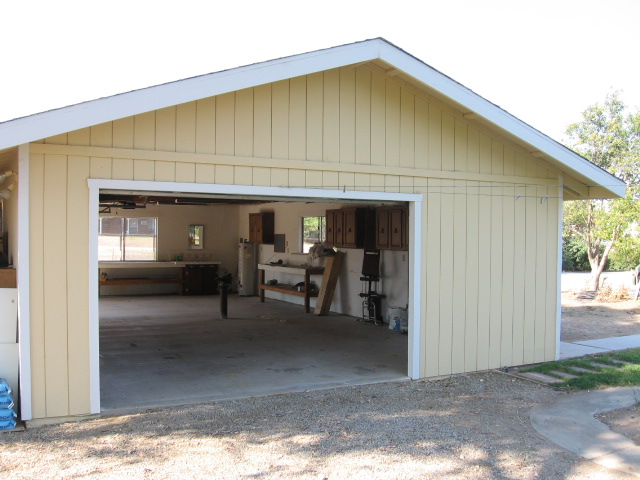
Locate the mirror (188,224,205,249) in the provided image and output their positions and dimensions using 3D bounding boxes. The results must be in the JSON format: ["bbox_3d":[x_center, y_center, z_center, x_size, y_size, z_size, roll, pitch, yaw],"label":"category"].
[{"bbox_3d":[-4.036,-0.106,18.751,0.513,0.767,0.170,-1,-4,-18],"label":"mirror"}]

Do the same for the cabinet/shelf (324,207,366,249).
[{"bbox_3d":[0.674,-0.270,13.789,0.747,0.944,1.317,1,-2,-42],"label":"cabinet/shelf"}]

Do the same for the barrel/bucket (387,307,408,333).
[{"bbox_3d":[1.596,1.616,12.106,0.414,0.546,0.528,0,0,-22],"label":"barrel/bucket"}]

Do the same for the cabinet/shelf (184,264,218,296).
[{"bbox_3d":[-3.783,1.236,18.036,0.908,0.899,0.618,1,0,-23],"label":"cabinet/shelf"}]

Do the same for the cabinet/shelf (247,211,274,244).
[{"bbox_3d":[-1.773,-0.349,17.590,0.494,0.906,0.948,0,0,-32],"label":"cabinet/shelf"}]

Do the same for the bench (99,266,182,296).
[{"bbox_3d":[-5.505,1.263,17.697,2.372,0.891,0.717,-1,-4,-23],"label":"bench"}]

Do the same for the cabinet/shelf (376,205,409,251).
[{"bbox_3d":[1.680,-0.254,12.334,0.540,0.975,1.063,0,0,-32],"label":"cabinet/shelf"}]
